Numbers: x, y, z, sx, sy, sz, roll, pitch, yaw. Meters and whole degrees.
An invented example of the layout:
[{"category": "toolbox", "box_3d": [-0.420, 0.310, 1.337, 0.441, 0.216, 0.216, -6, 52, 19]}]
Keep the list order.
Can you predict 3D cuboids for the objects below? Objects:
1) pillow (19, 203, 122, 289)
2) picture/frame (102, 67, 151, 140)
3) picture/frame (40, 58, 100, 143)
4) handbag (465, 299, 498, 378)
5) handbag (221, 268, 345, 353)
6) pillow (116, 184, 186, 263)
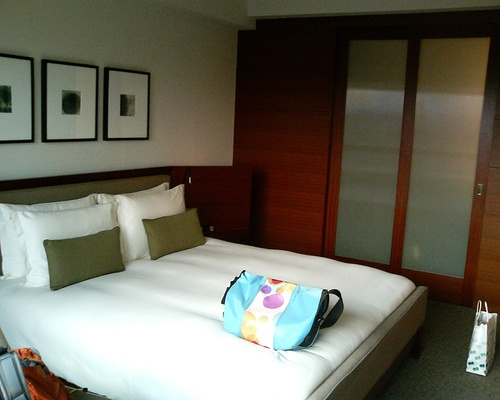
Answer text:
[{"category": "pillow", "box_3d": [-1.231, 0.327, 2.621, 0.166, 0.337, 0.494, 8, 13, 34]}, {"category": "picture/frame", "box_3d": [-1.134, -0.884, 3.506, 0.073, 0.768, 0.673, 5, 7, 31]}, {"category": "picture/frame", "box_3d": [-1.432, -0.797, 3.055, 0.073, 0.709, 0.668, 8, 10, 33]}, {"category": "handbag", "box_3d": [1.797, 1.091, 3.021, 0.183, 0.614, 0.409, 9, 16, 37]}, {"category": "handbag", "box_3d": [0.130, 0.566, 2.018, 0.402, 0.154, 0.411, 7, 30, 27]}, {"category": "pillow", "box_3d": [-0.823, 0.215, 3.193, 0.184, 0.399, 0.549, 8, 15, 27]}]
